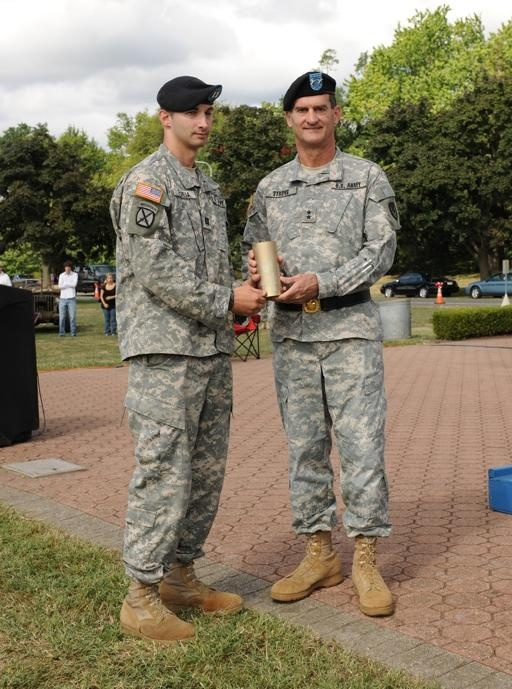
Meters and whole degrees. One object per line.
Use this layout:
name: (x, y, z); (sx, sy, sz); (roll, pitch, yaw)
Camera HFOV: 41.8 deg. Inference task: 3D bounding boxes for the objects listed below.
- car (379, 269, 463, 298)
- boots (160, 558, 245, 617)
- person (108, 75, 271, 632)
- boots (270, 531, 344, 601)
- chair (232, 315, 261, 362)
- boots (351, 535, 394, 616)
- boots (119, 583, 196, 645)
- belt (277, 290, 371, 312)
car: (9.534, -3.600, 39.818); (3.910, 1.237, 1.911); (7, 10, 43)
boots: (-0.223, 0.990, 2.758); (0.381, 0.205, 0.129); (-7, -1, 26)
person: (-0.255, 0.036, 2.593); (0.565, 2.102, 0.414); (-2, 2, -26)
boots: (0.212, 0.998, 3.040); (0.422, 0.247, 0.130); (-3, -4, -37)
chair: (-0.174, -0.223, 13.864); (0.688, 0.812, 0.617); (-3, 12, 7)
boots: (0.501, 0.973, 2.878); (0.181, 0.281, 0.393); (-1, 1, 8)
boots: (-0.366, 0.994, 2.492); (0.333, 0.204, 0.135); (2, -7, 32)
belt: (0.297, -0.188, 2.950); (0.428, 0.109, 0.264); (-1, 1, 3)
